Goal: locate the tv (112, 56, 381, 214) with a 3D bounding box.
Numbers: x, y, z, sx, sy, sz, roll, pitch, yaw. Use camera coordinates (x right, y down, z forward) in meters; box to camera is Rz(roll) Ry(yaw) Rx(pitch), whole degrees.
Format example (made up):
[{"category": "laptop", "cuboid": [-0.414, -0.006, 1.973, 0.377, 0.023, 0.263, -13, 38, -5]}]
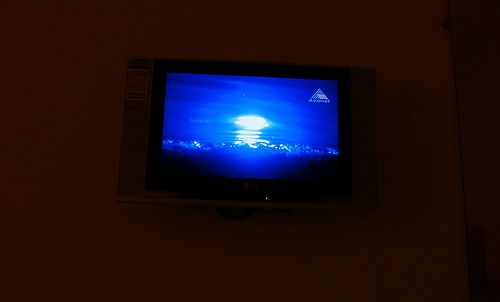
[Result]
[{"category": "tv", "cuboid": [0.009, -0.117, 2.890, 1.614, 0.173, 0.849, 2, -95, -3]}]
